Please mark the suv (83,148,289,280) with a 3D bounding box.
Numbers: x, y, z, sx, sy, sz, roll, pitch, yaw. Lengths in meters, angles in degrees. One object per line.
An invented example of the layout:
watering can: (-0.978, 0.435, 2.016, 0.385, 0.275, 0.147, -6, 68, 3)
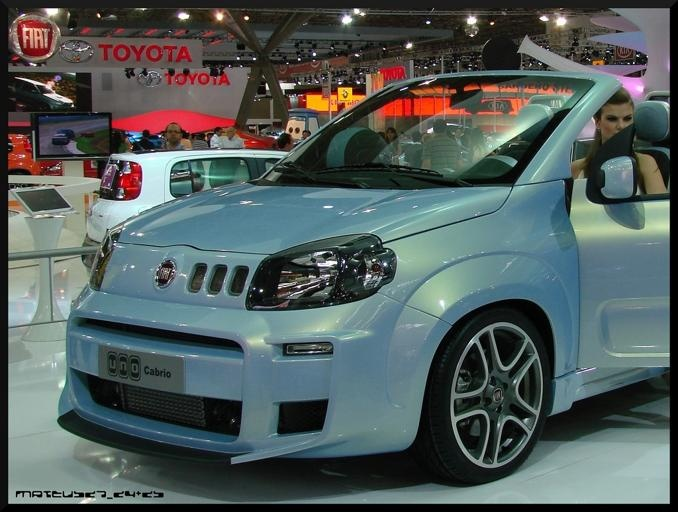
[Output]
suv: (-2.085, -0.644, 5.990, 2.589, 1.006, 1.358, -6, 10, -30)
